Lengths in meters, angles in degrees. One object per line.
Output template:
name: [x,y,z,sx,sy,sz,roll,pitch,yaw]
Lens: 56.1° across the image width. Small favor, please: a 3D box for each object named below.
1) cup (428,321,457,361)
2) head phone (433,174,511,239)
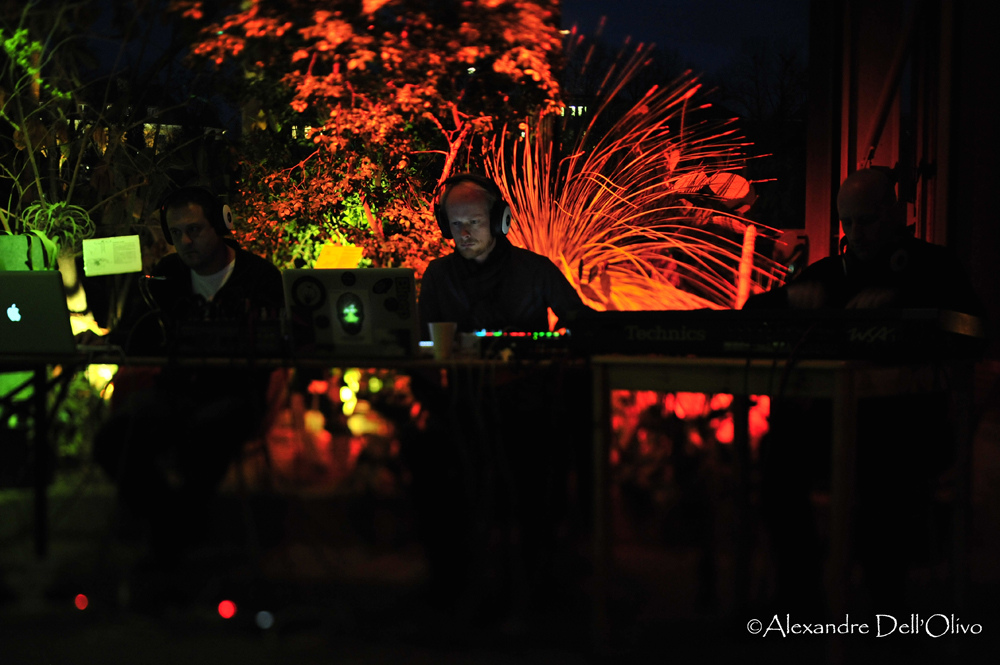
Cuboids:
cup: [-0.228,0.076,3.982,0.132,0.150,0.134,1,2,0]
head phone: [-0.130,-0.574,4.552,0.306,0.328,0.290,7,21,25]
